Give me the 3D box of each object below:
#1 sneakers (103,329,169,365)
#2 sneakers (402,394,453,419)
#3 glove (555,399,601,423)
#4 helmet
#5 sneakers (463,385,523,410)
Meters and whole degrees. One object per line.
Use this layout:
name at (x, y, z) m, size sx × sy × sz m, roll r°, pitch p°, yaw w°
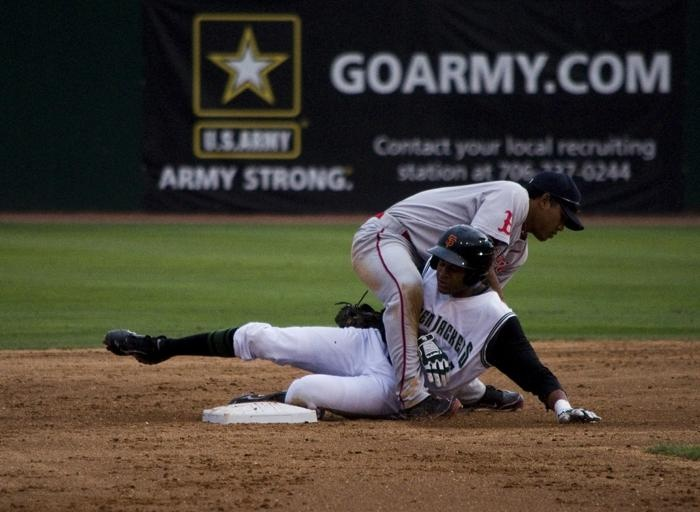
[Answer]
sneakers at (-1.892, 0.800, 11.828) m, size 0.492 × 0.219 × 0.290 m, roll 13°, pitch 6°, yaw 5°
sneakers at (0.690, 1.323, 11.473) m, size 0.475 × 0.209 × 0.173 m, roll -7°, pitch 4°, yaw 2°
glove at (1.942, 1.361, 11.411) m, size 0.319 × 0.208 × 0.149 m, roll 14°, pitch 2°, yaw 7°
helmet at (0.959, -0.059, 11.347) m, size 0.549 × 0.429 × 0.428 m, roll 20°, pitch 11°, yaw -25°
sneakers at (1.320, 1.307, 11.954) m, size 0.601 × 0.245 × 0.209 m, roll -4°, pitch -1°, yaw -5°
